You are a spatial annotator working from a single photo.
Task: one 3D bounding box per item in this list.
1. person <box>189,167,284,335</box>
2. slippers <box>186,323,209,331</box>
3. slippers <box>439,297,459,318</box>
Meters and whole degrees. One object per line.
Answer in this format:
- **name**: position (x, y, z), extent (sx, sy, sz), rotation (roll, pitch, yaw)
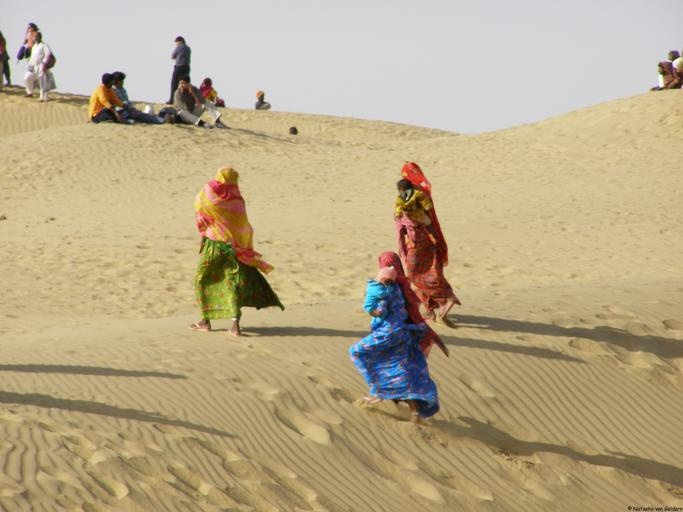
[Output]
- **person**: position (-1.528, -0.055, 11.437), extent (0.950, 2.265, 0.783), rotation (-13, 19, -27)
- **slippers**: position (-1.980, 0.971, 11.828), extent (0.270, 0.062, 0.122), rotation (2, 0, 28)
- **slippers**: position (1.469, 0.704, 11.782), extent (0.087, 0.350, 0.270), rotation (57, -10, -10)
